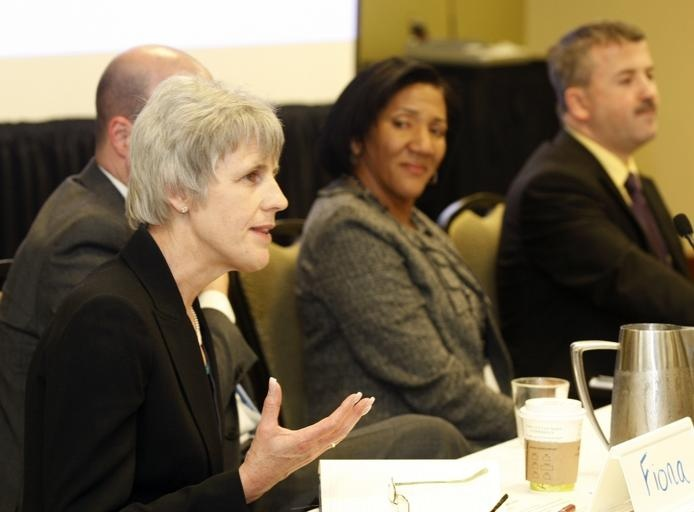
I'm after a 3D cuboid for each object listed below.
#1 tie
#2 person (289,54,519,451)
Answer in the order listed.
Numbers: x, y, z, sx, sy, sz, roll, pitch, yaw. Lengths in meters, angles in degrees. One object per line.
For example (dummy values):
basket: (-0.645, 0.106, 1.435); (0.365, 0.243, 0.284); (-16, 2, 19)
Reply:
tie: (0.910, -0.104, 2.029); (0.047, 0.308, 0.040); (-28, -1, 43)
person: (0.237, -0.062, 2.584); (0.914, 1.777, 0.719); (-1, 3, 12)
